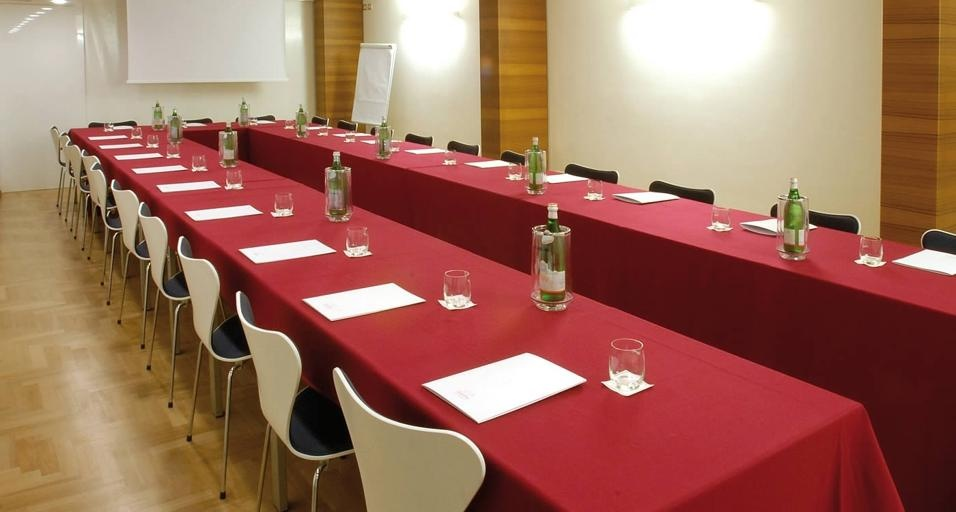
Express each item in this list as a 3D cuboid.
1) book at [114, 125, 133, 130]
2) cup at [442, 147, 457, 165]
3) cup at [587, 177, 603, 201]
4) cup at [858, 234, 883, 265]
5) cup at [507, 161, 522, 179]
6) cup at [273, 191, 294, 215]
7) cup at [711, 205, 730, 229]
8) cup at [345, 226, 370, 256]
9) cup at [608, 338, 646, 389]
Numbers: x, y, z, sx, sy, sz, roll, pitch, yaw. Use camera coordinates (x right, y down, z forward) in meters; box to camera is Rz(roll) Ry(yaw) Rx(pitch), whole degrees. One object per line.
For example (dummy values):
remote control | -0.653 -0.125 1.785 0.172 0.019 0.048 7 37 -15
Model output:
book | -5.492 -1.974 9.064 0.394 0.017 0.349 -4 10 -34
cup | -0.302 -1.063 6.537 0.194 0.219 0.197 -4 -19 -1
cup | 1.039 -0.591 5.239 0.182 0.191 0.192 1 5 0
cup | 2.650 -0.044 3.998 0.186 0.186 0.190 0 7 0
cup | 0.370 -0.844 5.829 0.158 0.182 0.159 2 6 0
cup | -1.604 -0.436 4.922 0.190 0.195 0.194 1 6 0
cup | 1.854 -0.288 4.553 0.161 0.181 0.160 0 3 0
cup | -0.857 -0.105 4.254 0.211 0.199 0.192 -4 13 -29
cup | 0.736 0.535 3.012 0.238 0.242 0.182 -4 9 -28
